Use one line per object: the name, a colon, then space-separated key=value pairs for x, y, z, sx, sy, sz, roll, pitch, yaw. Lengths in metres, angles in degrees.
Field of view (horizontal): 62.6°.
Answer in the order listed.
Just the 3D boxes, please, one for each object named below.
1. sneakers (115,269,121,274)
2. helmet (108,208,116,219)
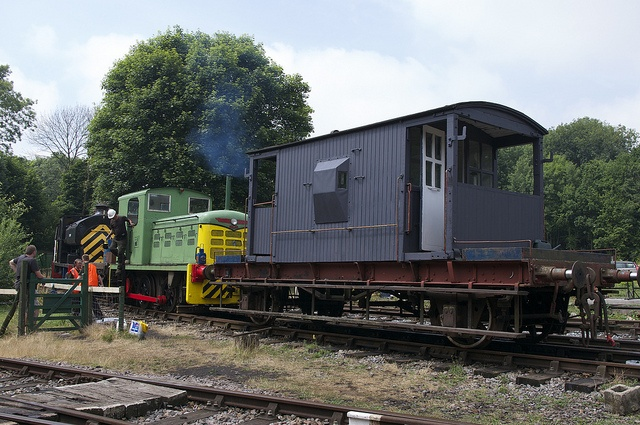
sneakers: x=-7.170 y=2.144 z=18.746 sx=0.245 sy=0.184 sz=0.145 roll=4 pitch=-9 yaw=-36
helmet: x=-7.636 y=0.076 z=19.258 sx=0.302 sy=0.416 sz=0.155 roll=-20 pitch=-45 yaw=2
